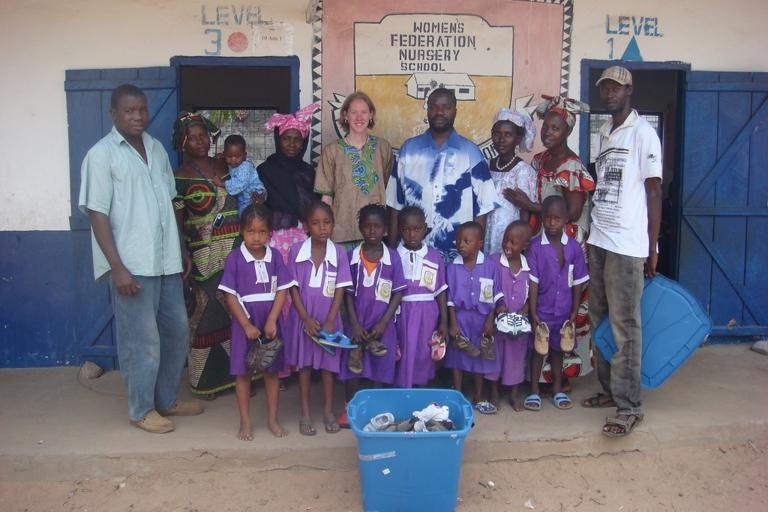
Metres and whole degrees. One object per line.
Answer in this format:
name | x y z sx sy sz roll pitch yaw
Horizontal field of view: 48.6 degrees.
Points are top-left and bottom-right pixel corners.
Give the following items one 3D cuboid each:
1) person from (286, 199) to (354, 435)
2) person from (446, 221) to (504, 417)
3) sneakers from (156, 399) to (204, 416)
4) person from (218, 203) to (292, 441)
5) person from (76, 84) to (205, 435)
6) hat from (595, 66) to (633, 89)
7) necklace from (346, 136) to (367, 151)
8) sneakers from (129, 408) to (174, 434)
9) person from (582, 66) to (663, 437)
person | -0.552 0.529 7.253 0.556 1.904 0.523 -1 14 -2
person | 0.794 0.531 7.509 0.492 1.640 0.437 1 14 5
sneakers | -1.811 1.342 7.562 0.383 0.155 0.141 -4 8 -10
person | -1.082 0.540 7.205 0.583 1.924 0.579 0 14 -1
person | -2.073 0.022 7.251 0.855 2.876 0.715 -5 15 -20
hat | 2.009 -1.562 7.402 0.265 0.151 0.206 2 14 7
necklace | -0.253 -1.037 7.840 0.177 0.141 0.200 0 1 -6
sneakers | -1.988 1.397 7.286 0.340 0.142 0.167 4 8 12
person | 2.084 -0.077 7.335 0.573 3.008 1.004 1 14 6
